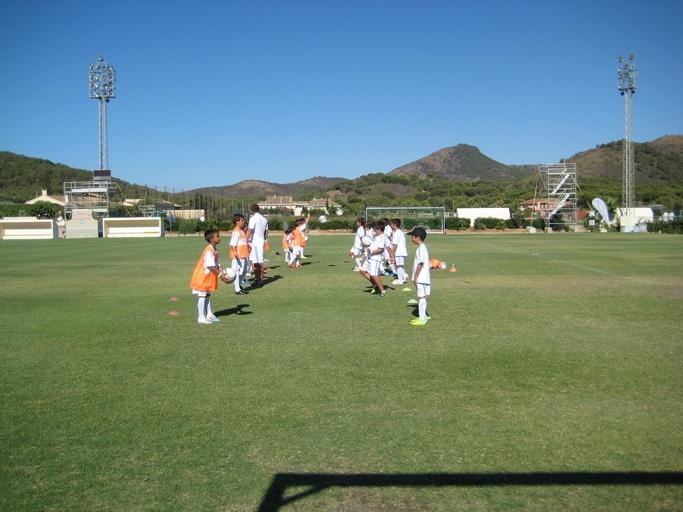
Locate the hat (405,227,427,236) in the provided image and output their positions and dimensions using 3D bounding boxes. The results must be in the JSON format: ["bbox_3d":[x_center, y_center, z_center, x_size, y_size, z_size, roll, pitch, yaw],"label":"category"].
[{"bbox_3d":[1.264,-0.457,9.352,0.293,0.159,0.217,12,7,41],"label":"hat"}]

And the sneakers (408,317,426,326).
[{"bbox_3d":[1.308,1.140,9.472,0.274,0.124,0.113,4,17,3],"label":"sneakers"}]

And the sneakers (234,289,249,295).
[{"bbox_3d":[-2.439,0.887,13.213,0.303,0.127,0.100,-2,12,-9],"label":"sneakers"}]
